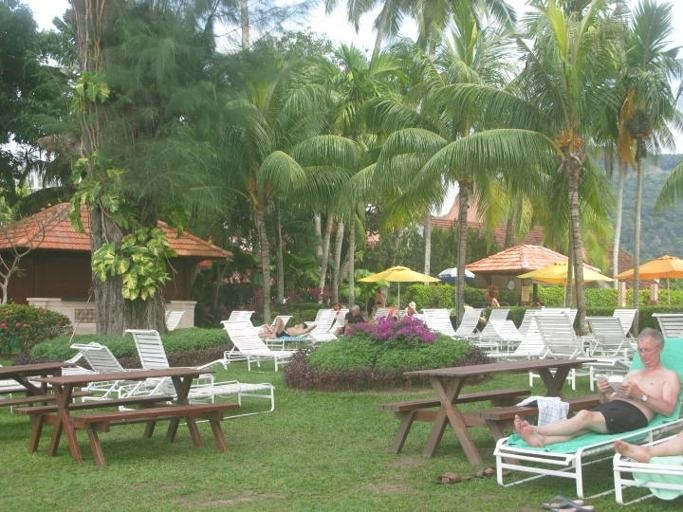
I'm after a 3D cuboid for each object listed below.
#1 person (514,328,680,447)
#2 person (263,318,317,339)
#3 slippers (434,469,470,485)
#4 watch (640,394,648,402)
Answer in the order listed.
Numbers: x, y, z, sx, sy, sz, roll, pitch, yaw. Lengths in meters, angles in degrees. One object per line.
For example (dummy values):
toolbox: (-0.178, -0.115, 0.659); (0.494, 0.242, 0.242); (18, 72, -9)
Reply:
person: (3.596, 1.739, 10.928); (2.112, 1.445, 0.473); (0, -3, -23)
person: (-1.458, 2.050, 22.383); (1.357, 0.648, 0.646); (4, 3, -14)
slippers: (1.482, 2.957, 10.881); (0.456, 0.121, 0.238); (0, -4, -17)
watch: (4.094, 1.914, 11.001); (0.064, 0.115, 0.100); (0, -3, 32)
